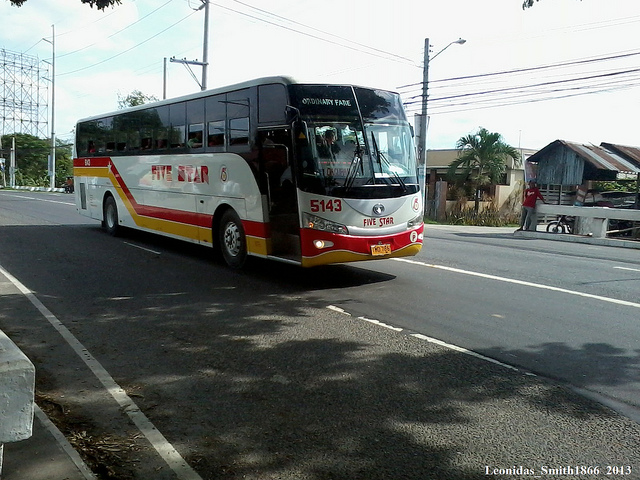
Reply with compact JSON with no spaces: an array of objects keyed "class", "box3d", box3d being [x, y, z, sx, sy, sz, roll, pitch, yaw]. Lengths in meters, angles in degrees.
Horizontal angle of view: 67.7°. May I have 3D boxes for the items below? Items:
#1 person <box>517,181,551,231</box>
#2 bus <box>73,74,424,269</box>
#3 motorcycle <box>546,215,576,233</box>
[{"class":"person","box3d":[9.463,-1.536,21.350,0.762,2.144,1.332,5,10,28]},{"class":"bus","box3d":[-3.211,-1.636,14.606,4.486,4.178,13.844,-3,6,-39]},{"class":"motorcycle","box3d":[11.596,-0.743,22.897,0.930,0.989,3.436,5,10,24]}]
